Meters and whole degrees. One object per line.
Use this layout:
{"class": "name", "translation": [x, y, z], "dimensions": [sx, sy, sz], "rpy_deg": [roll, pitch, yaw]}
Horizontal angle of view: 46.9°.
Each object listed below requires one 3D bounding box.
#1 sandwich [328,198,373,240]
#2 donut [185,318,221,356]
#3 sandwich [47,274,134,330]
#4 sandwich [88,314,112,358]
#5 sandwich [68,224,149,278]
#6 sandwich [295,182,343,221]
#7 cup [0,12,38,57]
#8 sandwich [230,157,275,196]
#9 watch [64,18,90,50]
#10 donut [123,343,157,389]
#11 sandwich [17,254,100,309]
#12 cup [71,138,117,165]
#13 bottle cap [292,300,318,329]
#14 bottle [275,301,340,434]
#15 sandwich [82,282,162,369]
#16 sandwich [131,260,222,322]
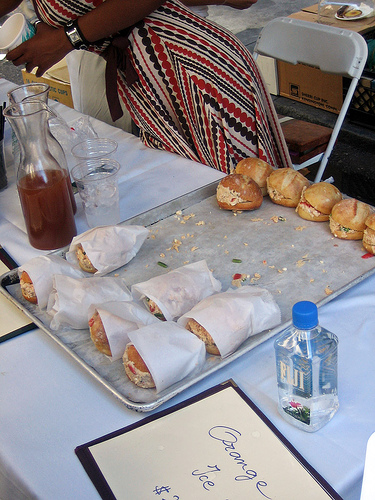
{"class": "sandwich", "translation": [0.264, -0.049, 0.719], "dimensions": [0.077, 0.050, 0.067], "rpy_deg": [3, 37, 4]}
{"class": "donut", "translation": [0.018, 0.103, 0.521], "dimensions": [0.012, 0.044, 0.043], "rpy_deg": [-43, 58, -11]}
{"class": "sandwich", "translation": [-0.134, 0.061, 0.597], "dimensions": [0.101, 0.038, 0.083], "rpy_deg": [-12, 39, -27]}
{"class": "sandwich", "translation": [-0.109, 0.107, 0.531], "dimensions": [0.026, 0.044, 0.046], "rpy_deg": [-17, 1, -9]}
{"class": "sandwich", "translation": [-0.130, -0.001, 0.758], "dimensions": [0.131, 0.052, 0.071], "rpy_deg": [-25, 64, -24]}
{"class": "sandwich", "translation": [0.234, -0.085, 0.775], "dimensions": [0.076, 0.051, 0.076], "rpy_deg": [30, 51, 31]}
{"class": "cup", "translation": [-0.411, -0.531, 1.057], "dimensions": [0.086, 0.086, 0.163], "rpy_deg": [-11, 35, -5]}
{"class": "sandwich", "translation": [0.142, -0.161, 0.945], "dimensions": [0.080, 0.084, 0.125], "rpy_deg": [19, 33, 42]}
{"class": "watch", "translation": [-0.268, -0.533, 1.072], "dimensions": [0.048, 0.072, 0.059], "rpy_deg": [3, 37, 14]}
{"class": "donut", "translation": [-0.055, 0.132, 0.489], "dimensions": [0.043, 0.016, 0.047], "rpy_deg": [6, 42, -28]}
{"class": "sandwich", "translation": [-0.198, 0.039, 0.673], "dimensions": [0.127, 0.047, 0.093], "rpy_deg": [-17, 16, -28]}
{"class": "cup", "translation": [-0.177, -0.190, 0.875], "dimensions": [0.087, 0.073, 0.077], "rpy_deg": [0, 32, -1]}
{"class": "bottle cap", "translation": [0.099, 0.056, 0.371], "dimensions": [0.025, 0.016, 0.022], "rpy_deg": [-5, 25, -1]}
{"class": "bottle", "translation": [0.117, 0.117, 0.424], "dimensions": [0.053, 0.111, 0.048], "rpy_deg": [4, 15, 36]}
{"class": "sandwich", "translation": [-0.072, 0.093, 0.535], "dimensions": [0.103, 0.034, 0.077], "rpy_deg": [-26, 51, -36]}
{"class": "sandwich", "translation": [-0.015, 0.048, 0.601], "dimensions": [0.113, 0.036, 0.067], "rpy_deg": [-20, 33, -35]}
